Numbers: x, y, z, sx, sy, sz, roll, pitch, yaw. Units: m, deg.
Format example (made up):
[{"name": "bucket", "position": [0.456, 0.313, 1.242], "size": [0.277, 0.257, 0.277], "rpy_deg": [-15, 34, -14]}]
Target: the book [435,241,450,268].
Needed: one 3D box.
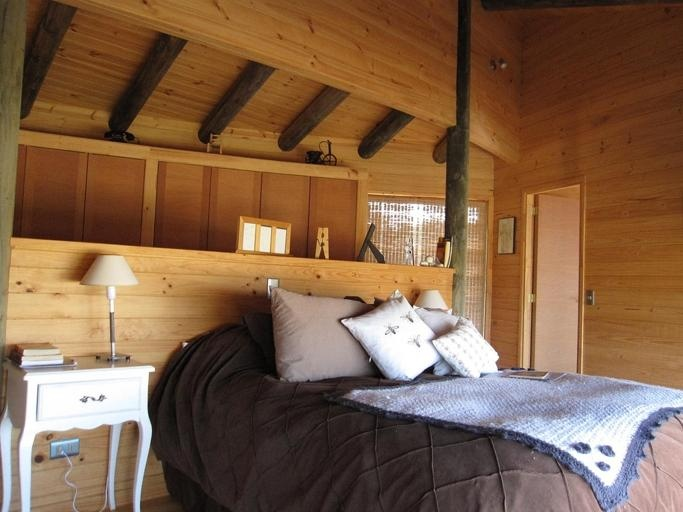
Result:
[{"name": "book", "position": [0.915, -0.028, 4.607], "size": [0.125, 0.244, 0.140], "rpy_deg": [-2, -4, 14]}]

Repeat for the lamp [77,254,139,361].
[{"name": "lamp", "position": [-1.317, 0.286, 2.936], "size": [0.287, 0.610, 0.317], "rpy_deg": [1, -5, -23]}]

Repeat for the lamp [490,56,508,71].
[{"name": "lamp", "position": [1.761, -2.140, 5.753], "size": [0.223, 0.186, 0.055], "rpy_deg": [6, 10, -18]}]

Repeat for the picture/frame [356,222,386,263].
[{"name": "picture/frame", "position": [0.307, -0.135, 5.400], "size": [0.355, 0.462, 0.490], "rpy_deg": [4, -6, 5]}]

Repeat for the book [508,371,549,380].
[{"name": "book", "position": [1.098, 0.681, 2.985], "size": [0.232, 0.020, 0.117], "rpy_deg": [-2, -2, 1]}]
